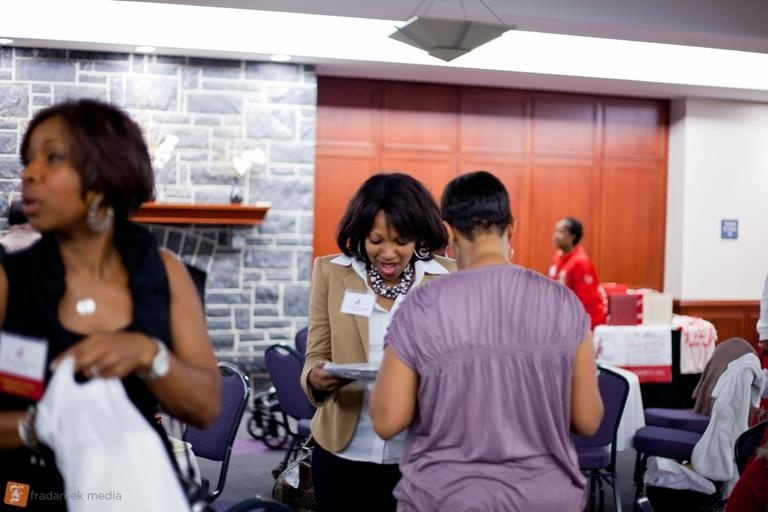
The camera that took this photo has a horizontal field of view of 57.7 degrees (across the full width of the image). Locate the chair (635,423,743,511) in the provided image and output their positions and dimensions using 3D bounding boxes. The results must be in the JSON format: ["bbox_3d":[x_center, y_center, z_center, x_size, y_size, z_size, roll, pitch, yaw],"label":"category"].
[{"bbox_3d":[1.808,1.303,4.458,0.388,0.364,0.469,3,1,25],"label":"chair"}]

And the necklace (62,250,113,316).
[{"bbox_3d":[-0.793,0.081,1.863,0.125,0.178,0.049,-5,-4,-16],"label":"necklace"}]

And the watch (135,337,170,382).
[{"bbox_3d":[-0.573,0.265,1.766,0.034,0.097,0.084,8,-1,-39],"label":"watch"}]

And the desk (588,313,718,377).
[{"bbox_3d":[2.538,0.710,6.544,0.858,0.339,0.861,-1,1,-13],"label":"desk"}]
